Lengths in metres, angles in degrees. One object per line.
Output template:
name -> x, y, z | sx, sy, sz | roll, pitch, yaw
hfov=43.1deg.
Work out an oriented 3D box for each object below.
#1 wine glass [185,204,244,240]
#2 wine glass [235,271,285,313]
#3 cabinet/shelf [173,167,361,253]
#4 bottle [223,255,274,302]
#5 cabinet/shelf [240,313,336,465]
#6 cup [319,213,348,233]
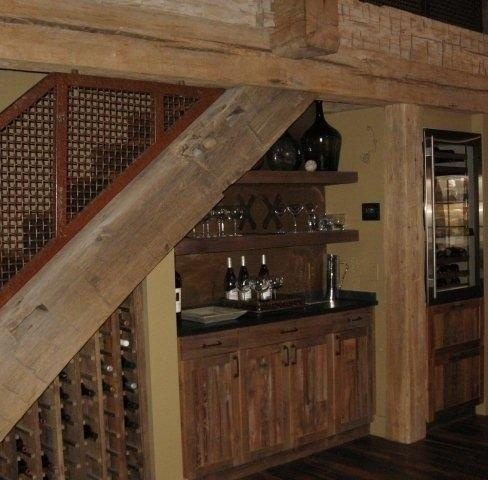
wine glass -> -0.202, -0.124, 4.381 | 0.305, 0.210, 0.581 | -2, 0, 23
wine glass -> 0.104, 0.379, 4.359 | 0.275, 0.184, 0.225 | 0, -1, 10
cabinet/shelf -> 0.241, -0.232, 4.662 | 0.451, 0.526, 1.704 | 0, 3, 44
bottle -> 0.015, 0.292, 4.515 | 0.332, 0.342, 0.120 | 0, -6, -14
cabinet/shelf -> 0.451, 1.055, 4.236 | 0.985, 0.839, 0.375 | -24, -40, 37
cup -> 0.701, -0.130, 4.858 | 0.157, 0.092, 0.149 | 0, 1, 0
